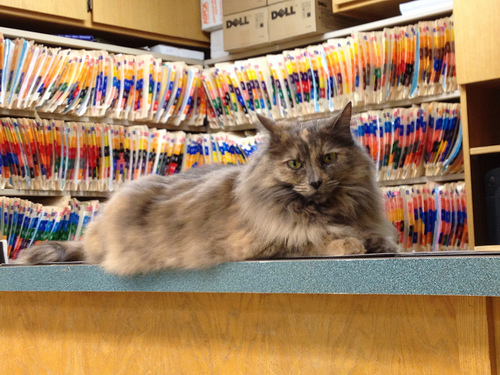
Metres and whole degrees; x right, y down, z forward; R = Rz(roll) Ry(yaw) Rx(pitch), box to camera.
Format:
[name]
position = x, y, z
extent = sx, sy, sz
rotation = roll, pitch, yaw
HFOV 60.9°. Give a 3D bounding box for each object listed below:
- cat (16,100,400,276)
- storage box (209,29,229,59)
[cat]
position = -0.113, 0.053, 1.201
extent = 0.856, 0.351, 0.538
rotation = -3, -3, 17
[storage box]
position = -0.243, -1.049, 3.139
extent = 0.160, 0.224, 0.210
rotation = -4, -16, 4
